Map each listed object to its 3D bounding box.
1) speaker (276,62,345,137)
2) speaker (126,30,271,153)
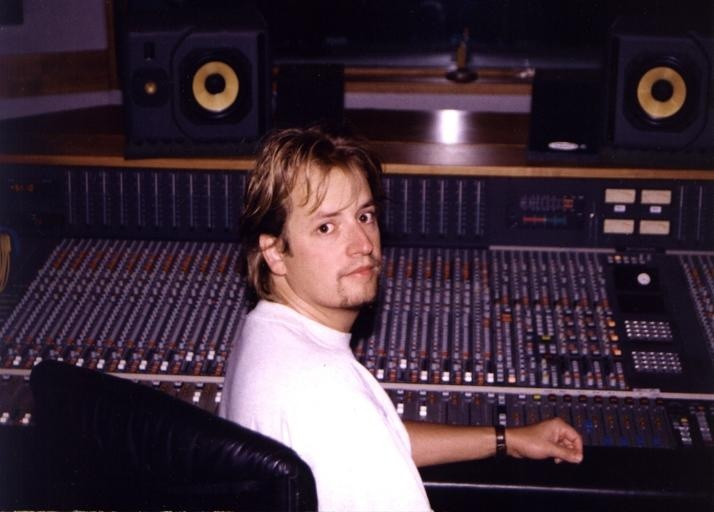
[{"bbox_3d":[-0.269,-0.878,3.361,0.381,0.352,0.145,1,6,-6],"label":"speaker"},{"bbox_3d":[-0.868,-0.860,3.373,0.653,0.544,0.646,-1,16,-5],"label":"speaker"}]
